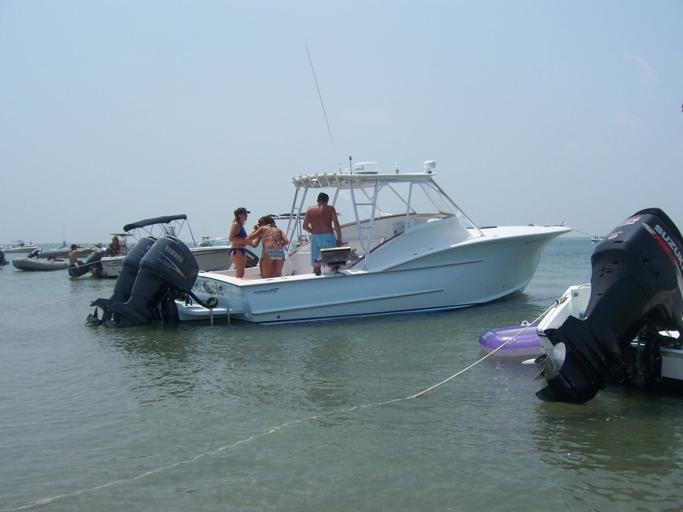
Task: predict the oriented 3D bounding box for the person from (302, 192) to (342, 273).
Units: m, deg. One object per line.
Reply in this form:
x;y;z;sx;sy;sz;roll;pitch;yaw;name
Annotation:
-0.382;-0.622;10.911;0.847;1.342;0.297;4;10;30;person

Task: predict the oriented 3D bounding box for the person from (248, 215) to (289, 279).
-1.535;-0.099;11.055;0.809;1.108;0.450;-2;9;-8;person

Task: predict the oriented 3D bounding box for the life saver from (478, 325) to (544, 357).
2.525;1.264;7.835;0.926;0.248;0.435;-4;12;-16;life saver
